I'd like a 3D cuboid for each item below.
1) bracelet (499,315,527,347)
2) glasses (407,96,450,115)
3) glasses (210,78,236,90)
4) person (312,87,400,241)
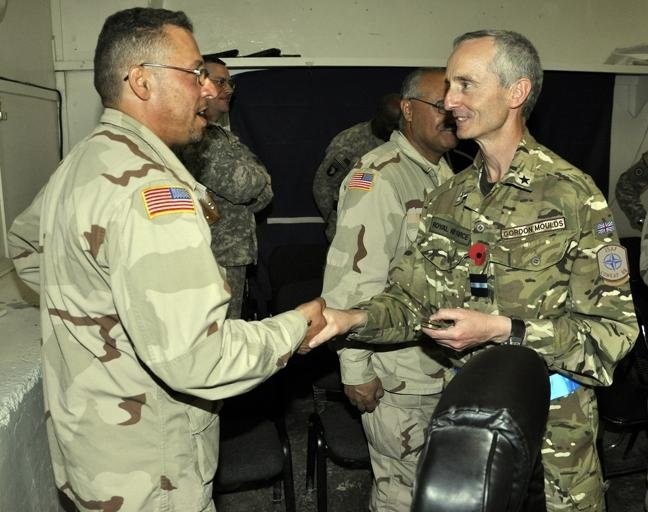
[{"bbox_3d":[0.567,0.230,1.676,0.084,0.102,0.066,4,12,23],"label":"bracelet"},{"bbox_3d":[0.424,-0.621,2.288,0.142,0.040,0.141,22,18,37],"label":"glasses"},{"bbox_3d":[-0.590,-1.003,3.236,0.140,0.039,0.134,4,6,28],"label":"glasses"},{"bbox_3d":[0.175,-0.674,3.761,0.306,0.875,0.926,27,33,4],"label":"person"}]
